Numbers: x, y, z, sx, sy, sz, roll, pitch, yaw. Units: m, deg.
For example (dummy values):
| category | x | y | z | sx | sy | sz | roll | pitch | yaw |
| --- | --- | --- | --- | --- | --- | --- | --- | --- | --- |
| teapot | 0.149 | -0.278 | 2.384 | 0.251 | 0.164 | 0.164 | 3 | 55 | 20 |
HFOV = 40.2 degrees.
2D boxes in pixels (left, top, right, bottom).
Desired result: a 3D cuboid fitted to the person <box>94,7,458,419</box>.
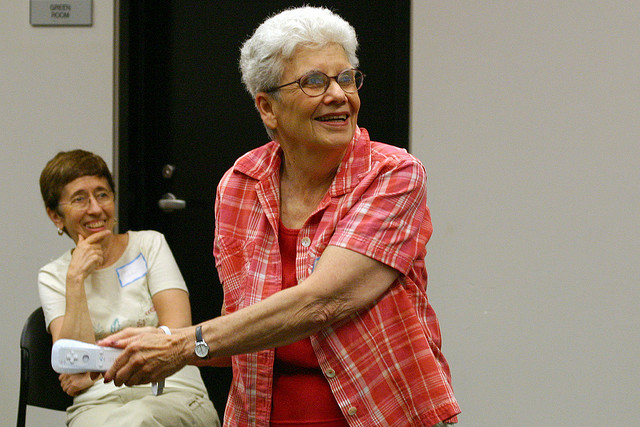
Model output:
| category | x | y | z | sx | sy | sz | roll | pitch | yaw |
| --- | --- | --- | --- | --- | --- | --- | --- | --- | --- |
| person | -0.075 | 0.025 | 3.431 | 1.232 | 1.653 | 0.408 | 1 | 3 | 10 |

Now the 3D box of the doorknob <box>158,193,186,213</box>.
| category | x | y | z | sx | sy | sz | roll | pitch | yaw |
| --- | --- | --- | --- | --- | --- | --- | --- | --- | --- |
| doorknob | -0.809 | -0.057 | 4.769 | 0.146 | 0.107 | 0.042 | 0 | 3 | -9 |
